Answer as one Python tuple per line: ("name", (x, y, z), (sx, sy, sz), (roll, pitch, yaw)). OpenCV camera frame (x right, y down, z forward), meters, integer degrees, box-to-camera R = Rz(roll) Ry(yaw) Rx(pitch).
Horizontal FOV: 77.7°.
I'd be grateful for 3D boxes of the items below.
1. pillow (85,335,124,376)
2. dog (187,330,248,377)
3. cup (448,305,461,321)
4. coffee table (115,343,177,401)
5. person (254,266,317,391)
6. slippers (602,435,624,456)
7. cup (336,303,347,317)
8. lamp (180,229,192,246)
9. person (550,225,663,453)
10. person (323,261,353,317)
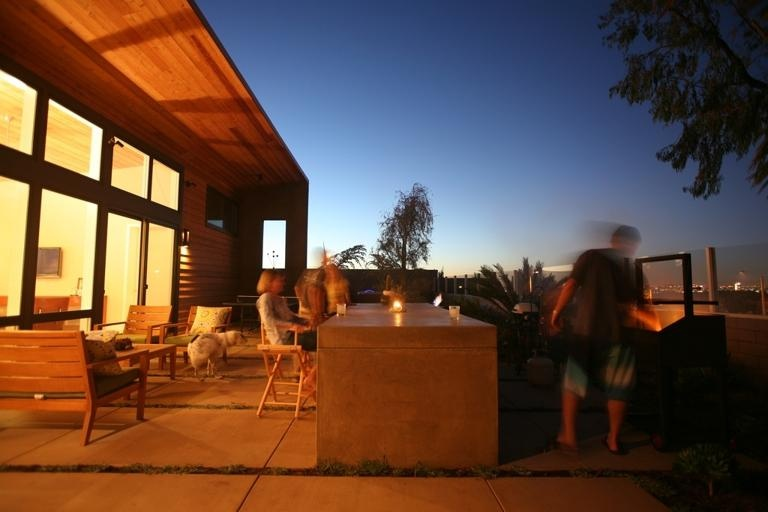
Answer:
("pillow", (-3.634, 1.283, 6.121), (0.441, 0.500, 0.213), (14, 28, -6))
("dog", (-2.876, 1.626, 8.111), (0.439, 0.685, 0.986), (-15, -8, 42))
("cup", (0.888, 0.692, 5.824), (0.184, 0.206, 0.186), (-1, -7, 0))
("coffee table", (-3.466, 1.496, 6.832), (0.665, 0.493, 1.015), (1, -5, 4))
("person", (-1.425, 0.799, 6.879), (0.862, 1.192, 0.555), (1, -5, -3))
("slippers", (2.716, 2.246, 5.714), (0.179, 0.166, 0.314), (3, -5, -25))
("cup", (-0.546, 0.703, 6.255), (0.160, 0.174, 0.160), (1, -1, 0))
("lamp", (-4.932, -0.462, 11.827), (0.157, 0.423, 0.509), (1, -4, -5))
("person", (2.638, 0.951, 5.775), (1.128, 2.719, 0.367), (1, -5, -8))
("person", (-0.678, 0.516, 7.236), (0.319, 0.451, 0.820), (-13, -21, -7))
